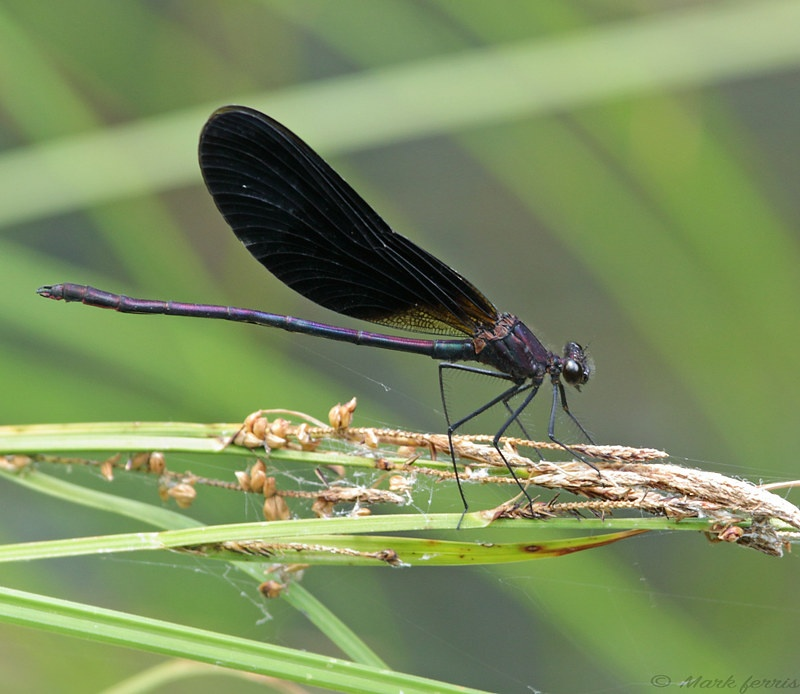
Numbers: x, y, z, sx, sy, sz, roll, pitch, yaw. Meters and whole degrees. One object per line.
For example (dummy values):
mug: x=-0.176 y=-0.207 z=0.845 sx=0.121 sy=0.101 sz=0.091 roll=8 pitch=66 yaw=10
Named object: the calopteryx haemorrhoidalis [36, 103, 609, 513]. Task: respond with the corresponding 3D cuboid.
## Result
calopteryx haemorrhoidalis: x=-0.161 y=-0.699 z=6.205 sx=3.521 sy=1.732 sz=1.728 roll=4 pitch=20 yaw=5
